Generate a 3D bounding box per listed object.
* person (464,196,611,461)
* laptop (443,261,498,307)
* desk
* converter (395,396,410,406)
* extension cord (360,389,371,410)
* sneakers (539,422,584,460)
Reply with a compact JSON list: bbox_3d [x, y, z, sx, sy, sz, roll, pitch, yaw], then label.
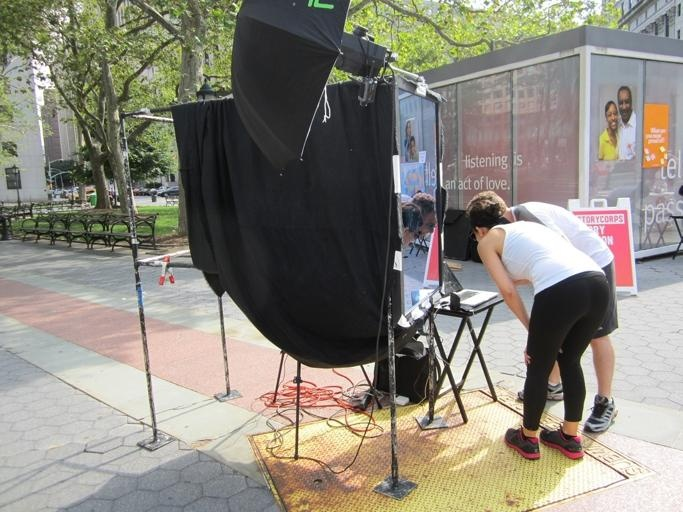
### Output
[{"bbox_3d":[1.601,0.687,4.219,0.895,1.838,0.506,5,15,28],"label":"person"},{"bbox_3d":[1.127,0.346,4.877,0.410,0.448,0.639,-1,4,27],"label":"laptop"},{"bbox_3d":[1.130,0.925,4.901,0.481,0.728,0.497,-22,-6,39],"label":"desk"},{"bbox_3d":[0.602,1.418,5.182,0.131,0.038,0.138,-2,14,5],"label":"converter"},{"bbox_3d":[0.258,1.416,5.249,0.104,0.090,0.293,-1,14,7],"label":"extension cord"},{"bbox_3d":[1.788,1.512,4.378,0.145,0.194,0.405,0,11,-28],"label":"sneakers"}]
